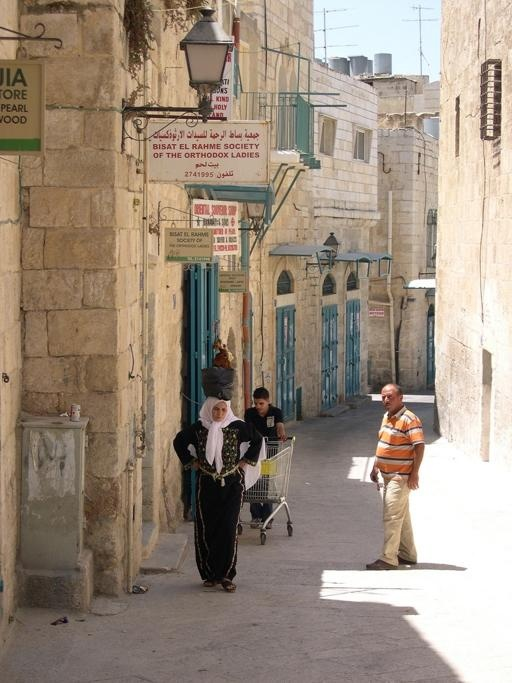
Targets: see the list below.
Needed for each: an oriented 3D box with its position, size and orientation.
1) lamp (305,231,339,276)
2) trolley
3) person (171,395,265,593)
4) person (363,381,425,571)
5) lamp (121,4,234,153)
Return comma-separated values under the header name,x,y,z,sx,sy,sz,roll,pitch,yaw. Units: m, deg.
name,x,y,z,sx,sy,sz,roll,pitch,yaw
lamp,1.226,-1.549,21.109,0.309,0.712,1.295,1,-10,-3
trolley,0.063,1.013,9.760,0.290,1.245,0.332,-6,16,-20
person,-0.238,0.975,7.437,0.598,1.209,0.598,1,3,-5
person,0.970,0.943,8.041,0.367,1.288,0.406,1,3,7
lamp,-0.464,-1.696,6.978,0.593,0.886,0.928,1,3,-5
